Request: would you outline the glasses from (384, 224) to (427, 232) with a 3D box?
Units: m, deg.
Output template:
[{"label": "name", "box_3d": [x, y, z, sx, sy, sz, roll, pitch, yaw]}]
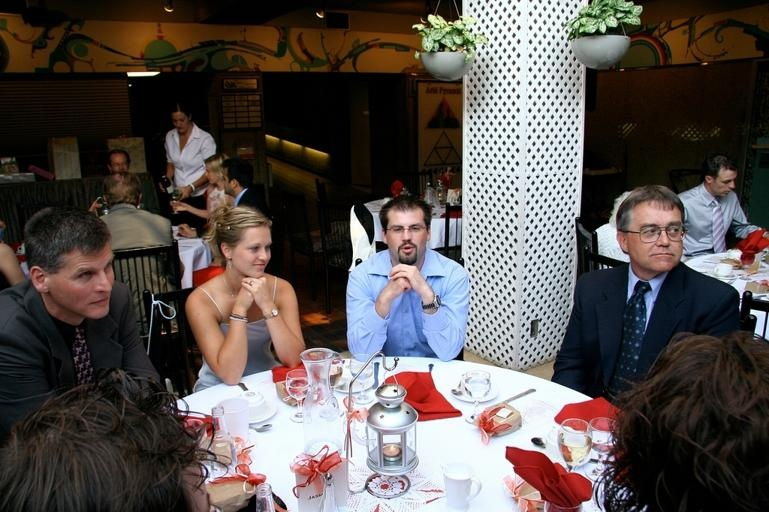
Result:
[{"label": "glasses", "box_3d": [0.116, -0.150, 2.856, 0.204, 0.040, 0.064, 0, 8, -2]}]

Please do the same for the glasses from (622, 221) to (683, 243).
[{"label": "glasses", "box_3d": [1.286, -0.112, 2.640, 0.266, 0.091, 0.136, 4, 9, 25]}]

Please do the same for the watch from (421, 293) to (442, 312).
[{"label": "watch", "box_3d": [0.236, 0.240, 2.704, 0.086, 0.066, 0.098, -4, -18, -20]}]

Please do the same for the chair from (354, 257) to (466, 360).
[{"label": "chair", "box_3d": [0.132, 0.216, 2.905, 0.554, 0.694, 0.465, -1, 2, 0]}]

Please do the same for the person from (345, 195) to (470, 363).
[{"label": "person", "box_3d": [0.109, 0.113, 2.818, 0.626, 0.829, 0.453, 1, 8, 6]}]

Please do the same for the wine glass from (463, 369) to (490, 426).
[{"label": "wine glass", "box_3d": [0.371, 0.576, 2.222, 0.113, 0.211, 0.122, -9, 16, -28]}]

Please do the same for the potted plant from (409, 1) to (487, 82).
[{"label": "potted plant", "box_3d": [0.509, -1.703, 4.396, 0.518, 0.421, 0.542, -1, 12, -4]}]

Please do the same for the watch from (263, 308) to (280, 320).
[{"label": "watch", "box_3d": [-0.552, 0.284, 2.728, 0.063, 0.040, 0.059, -28, -18, -51]}]

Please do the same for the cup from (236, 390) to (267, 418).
[{"label": "cup", "box_3d": [-0.527, 0.587, 2.225, 0.081, 0.076, 0.085, 0, 13, 0]}]

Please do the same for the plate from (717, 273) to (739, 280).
[{"label": "plate", "box_3d": [2.361, 0.144, 3.795, 0.075, 0.019, 0.079, -2, 10, 12]}]

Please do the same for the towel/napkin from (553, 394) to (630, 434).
[{"label": "towel/napkin", "box_3d": [0.788, 0.598, 2.145, 0.207, 0.068, 0.213, -6, 9, -13]}]

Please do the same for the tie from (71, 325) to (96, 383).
[{"label": "tie", "box_3d": [-1.320, 0.419, 2.417, 0.051, 0.254, 0.042, -3, 0, -22]}]

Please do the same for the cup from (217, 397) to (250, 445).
[{"label": "cup", "box_3d": [-0.537, 0.597, 2.062, 0.116, 0.158, 0.151, -3, 16, 1]}]
